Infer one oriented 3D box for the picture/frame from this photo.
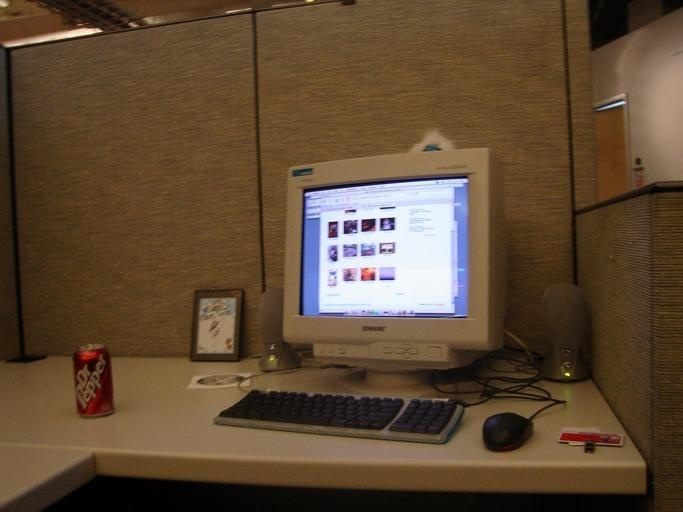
[{"bbox_3d":[-0.364,0.203,1.769,0.155,0.196,0.137,-2,14,11],"label":"picture/frame"}]
